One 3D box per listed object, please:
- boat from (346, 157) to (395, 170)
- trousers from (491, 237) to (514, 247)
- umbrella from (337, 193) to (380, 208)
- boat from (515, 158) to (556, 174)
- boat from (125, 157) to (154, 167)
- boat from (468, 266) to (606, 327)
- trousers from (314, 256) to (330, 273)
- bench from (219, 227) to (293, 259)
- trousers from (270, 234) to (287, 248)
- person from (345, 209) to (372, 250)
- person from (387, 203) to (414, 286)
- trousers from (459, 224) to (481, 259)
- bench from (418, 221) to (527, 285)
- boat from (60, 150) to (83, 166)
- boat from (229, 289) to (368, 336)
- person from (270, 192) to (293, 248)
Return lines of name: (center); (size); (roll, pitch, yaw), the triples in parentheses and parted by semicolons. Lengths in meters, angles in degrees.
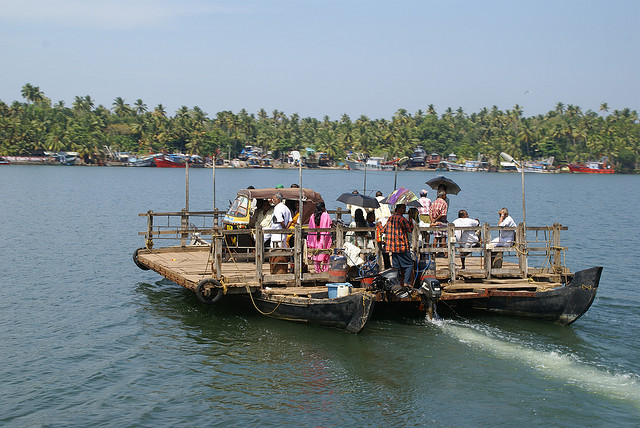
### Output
boat: (11.311, -12.089, 185.949); (7.284, 3.151, 19.504); (0, 2, -12)
trousers: (6.427, 0.907, 28.792); (0.757, 0.313, 0.858); (1, 2, 13)
umbrella: (1.397, -0.537, 28.926); (0.975, 0.495, 1.431); (0, 3, -24)
boat: (49.477, -11.465, 184.189); (5.445, 3.753, 11.114); (2, 3, 21)
boat: (-36.242, -11.055, 166.249); (4.014, 1.240, 2.212); (2, -2, -36)
boat: (7.462, 2.862, 29.232); (1.170, 1.803, 6.449); (10, -8, -24)
trousers: (0.082, 1.735, 29.065); (0.776, 0.448, 0.386); (0, -4, -2)
bench: (-2.326, 1.017, 29.268); (1.815, 0.641, 1.686); (-2, 1, -33)
trousers: (-1.467, 0.900, 29.112); (0.656, 0.492, 0.137); (1, -1, 3)
person: (1.426, 0.443, 28.695); (0.825, 1.371, 2.026); (1, 3, 1)
person: (2.671, 0.979, 27.164); (0.857, 2.733, 0.520); (-1, 5, -31)
trousers: (5.429, 0.962, 29.506); (0.721, 1.285, 2.485); (2, 3, 10)
bench: (5.382, 1.265, 29.010); (3.823, 1.634, 1.266); (-2, 12, 13)
boat: (-50.221, -12.059, 165.452); (4.154, 2.677, 6.186); (0, 3, -15)
boat: (-0.539, 3.278, 28.779); (1.792, 1.328, 6.780); (12, -8, -36)
person: (-1.348, 0.153, 28.978); (0.742, 1.971, 0.980); (1, 4, -4)
